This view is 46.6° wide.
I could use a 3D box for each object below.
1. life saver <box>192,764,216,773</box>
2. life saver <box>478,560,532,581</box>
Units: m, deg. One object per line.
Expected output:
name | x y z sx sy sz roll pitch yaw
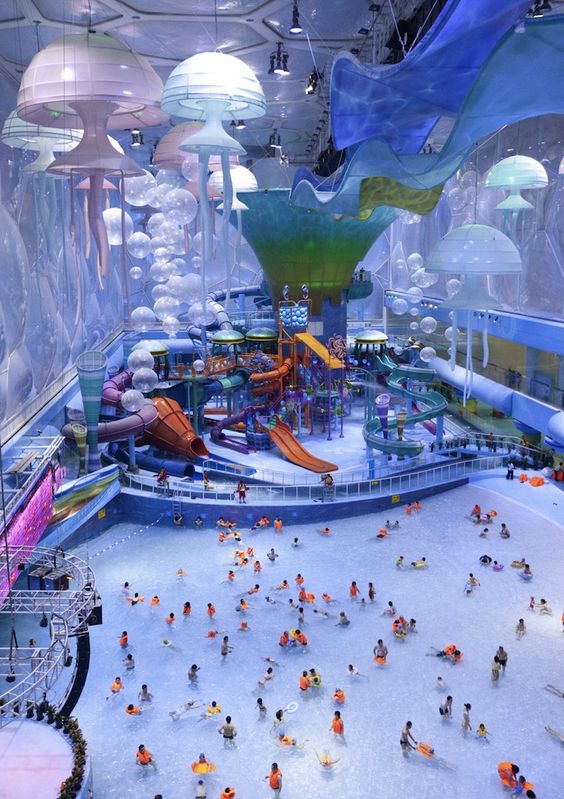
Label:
life saver | -0.813 3.856 6.838 0.218 0.144 0.247 -2 -26 -7
life saver | 4.180 3.059 11.701 0.404 0.166 0.365 12 9 38
